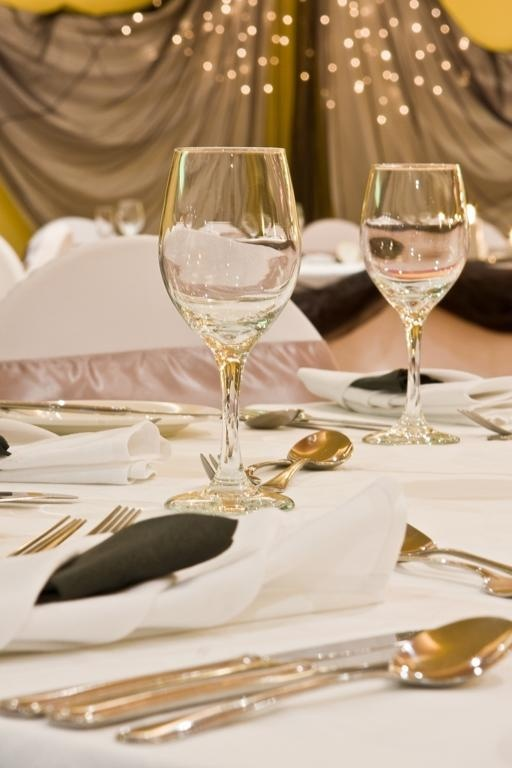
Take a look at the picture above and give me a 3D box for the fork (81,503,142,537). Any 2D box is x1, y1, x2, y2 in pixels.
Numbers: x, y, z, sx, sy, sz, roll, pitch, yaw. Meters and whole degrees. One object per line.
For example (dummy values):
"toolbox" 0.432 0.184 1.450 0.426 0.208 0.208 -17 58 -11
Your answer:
"fork" -0.087 0.079 0.439 0.013 0.003 0.047 12 8 8

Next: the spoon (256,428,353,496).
"spoon" 0.037 0.059 0.594 0.032 0.014 0.094 21 20 18
